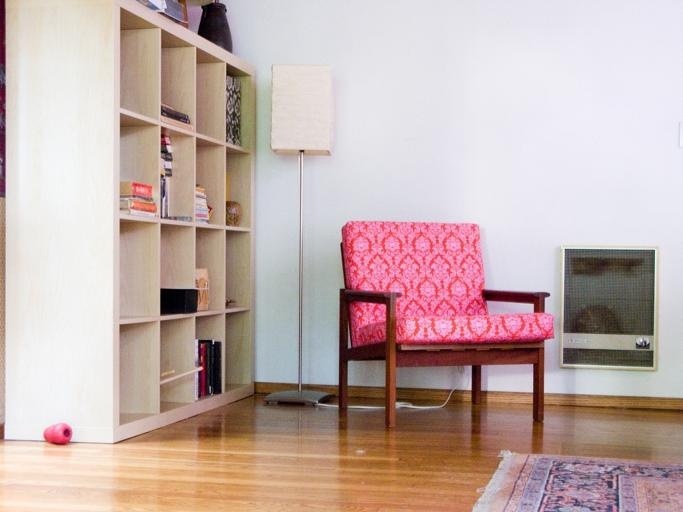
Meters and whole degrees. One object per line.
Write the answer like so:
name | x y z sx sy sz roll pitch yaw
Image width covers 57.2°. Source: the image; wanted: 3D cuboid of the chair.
chair | 0.608 0.349 3.538 0.999 1.244 1.094 2 -7 -21

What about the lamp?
lamp | -0.247 -0.171 3.766 0.406 2.055 0.362 0 -1 -1
